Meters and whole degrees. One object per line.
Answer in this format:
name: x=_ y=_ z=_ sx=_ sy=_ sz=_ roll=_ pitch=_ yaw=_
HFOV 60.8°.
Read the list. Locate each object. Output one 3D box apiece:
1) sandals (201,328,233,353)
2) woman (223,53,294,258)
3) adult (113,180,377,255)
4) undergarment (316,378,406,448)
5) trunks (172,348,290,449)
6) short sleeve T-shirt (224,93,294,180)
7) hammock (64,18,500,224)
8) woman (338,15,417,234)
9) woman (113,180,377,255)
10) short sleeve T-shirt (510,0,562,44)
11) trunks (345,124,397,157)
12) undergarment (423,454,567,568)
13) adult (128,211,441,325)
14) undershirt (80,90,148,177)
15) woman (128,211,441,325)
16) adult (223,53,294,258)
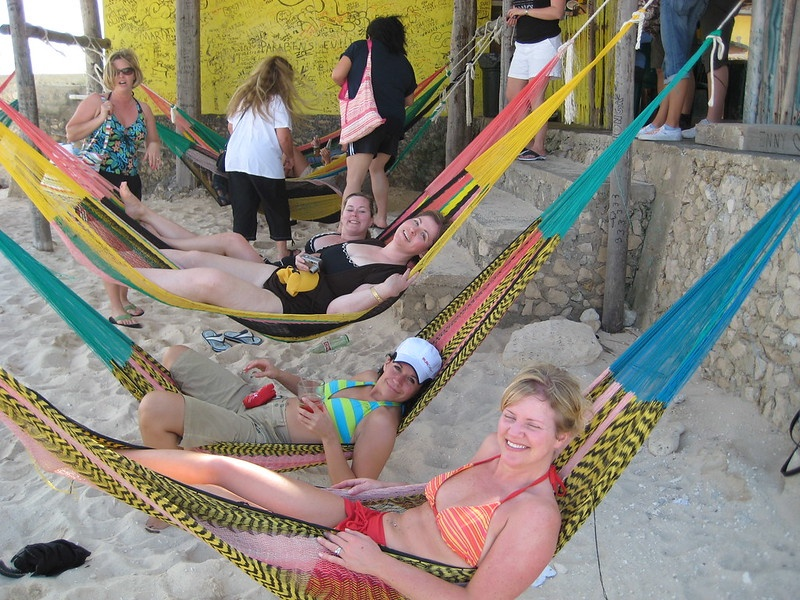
sandals: x=-0.931 y=0.206 z=3.488 sx=0.081 sy=0.059 sz=0.200 roll=4 pitch=18 yaw=-37
woman: x=-0.860 y=-0.807 z=4.258 sx=0.417 sy=1.185 sz=0.490 roll=-3 pitch=20 yaw=-21
adult: x=-0.826 y=-0.342 z=3.261 sx=1.515 sy=0.289 sz=0.561 roll=3 pitch=20 yaw=34
undergarment: x=-0.169 y=0.430 z=2.625 sx=0.281 sy=0.114 sz=0.213 roll=-3 pitch=28 yaw=-11
trunks: x=-0.631 y=0.398 z=2.611 sx=0.405 sy=0.120 sz=0.361 roll=20 pitch=26 yaw=-32
short sleeve T-shirt: x=-0.821 y=-0.967 z=4.056 sx=0.414 sy=0.454 sz=0.266 roll=17 pitch=22 yaw=3
hammock: x=-0.825 y=-1.296 z=4.972 sx=2.849 sy=1.133 sz=0.895 roll=-1 pitch=14 yaw=-11
woman: x=-0.209 y=-1.122 z=4.360 sx=0.473 sy=1.328 sz=0.542 roll=9 pitch=4 yaw=44
woman: x=-0.728 y=-0.477 z=3.475 sx=1.193 sy=0.424 sz=0.478 roll=-1 pitch=14 yaw=-8
short sleeve T-shirt: x=0.880 y=-1.777 z=4.383 sx=0.222 sy=0.279 sz=0.158 roll=18 pitch=41 yaw=39
trunks: x=-0.146 y=-0.952 z=4.368 sx=0.343 sy=0.228 sz=0.185 roll=-3 pitch=10 yaw=-14
undergarment: x=0.255 y=0.569 z=2.040 sx=0.355 sy=0.174 sz=0.281 roll=-21 pitch=40 yaw=-33
adult: x=-0.448 y=-0.112 z=3.329 sx=1.451 sy=0.581 sz=0.508 roll=-4 pitch=21 yaw=-4
undershirt: x=-1.564 y=-1.038 z=3.942 sx=0.315 sy=0.210 sz=0.398 roll=6 pitch=4 yaw=-17
woman: x=-0.436 y=-0.124 z=3.328 sx=1.451 sy=0.581 sz=0.508 roll=-4 pitch=21 yaw=-4
adult: x=-0.839 y=-0.812 z=4.253 sx=0.460 sy=1.186 sz=0.475 roll=-5 pitch=22 yaw=-24
